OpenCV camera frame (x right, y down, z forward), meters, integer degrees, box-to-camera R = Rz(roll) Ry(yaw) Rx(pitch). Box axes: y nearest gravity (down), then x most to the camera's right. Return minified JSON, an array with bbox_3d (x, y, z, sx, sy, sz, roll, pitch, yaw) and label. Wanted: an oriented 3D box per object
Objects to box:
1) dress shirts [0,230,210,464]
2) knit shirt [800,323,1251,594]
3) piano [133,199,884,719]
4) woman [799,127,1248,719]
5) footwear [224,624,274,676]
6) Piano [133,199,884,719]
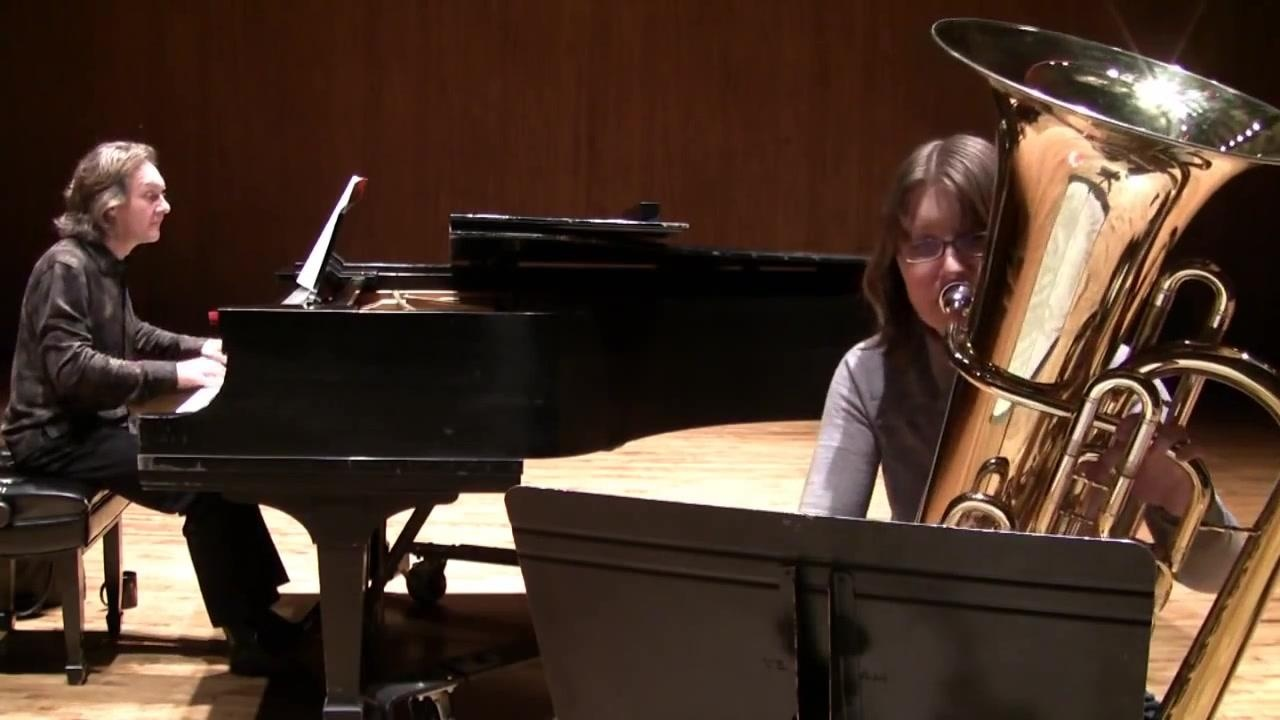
[{"bbox_3d":[-2.112,-0.044,4.451,0.897,0.898,0.891,1,1,-5],"label":"dress shirts"},{"bbox_3d":[1.030,0.008,3.256,0.689,1.190,0.645,15,1,16],"label":"knit shirt"},{"bbox_3d":[-0.368,0.289,4.175,2.344,1.331,1.930,1,-1,-5],"label":"piano"},{"bbox_3d":[1.117,0.012,3.184,1.053,1.933,0.924,12,29,1],"label":"woman"},{"bbox_3d":[-1.510,1.103,4.093,0.132,0.049,0.214,-1,16,-18],"label":"footwear"},{"bbox_3d":[-0.448,0.264,4.158,2.344,1.331,1.930,1,-1,-5],"label":"Piano"}]
